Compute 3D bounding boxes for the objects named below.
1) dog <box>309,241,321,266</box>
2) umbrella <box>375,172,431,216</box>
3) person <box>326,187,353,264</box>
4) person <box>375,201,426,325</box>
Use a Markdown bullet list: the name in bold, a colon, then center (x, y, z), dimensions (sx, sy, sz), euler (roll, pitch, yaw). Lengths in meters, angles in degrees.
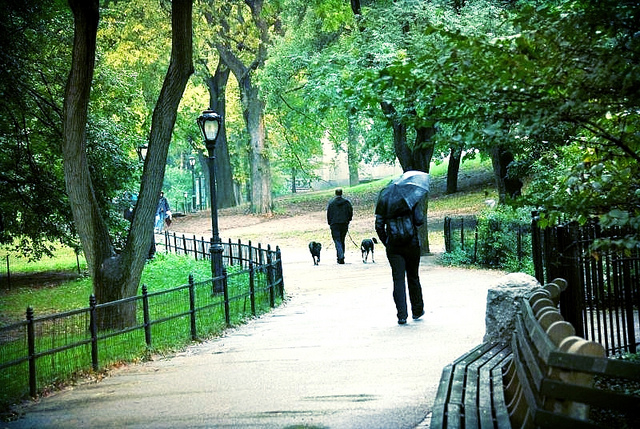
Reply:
- **dog**: center (-0.147, 1.314, 22.858), dimensions (0.338, 0.807, 0.529), euler (-5, 4, -3)
- **umbrella**: center (1.504, -0.382, 12.448), dimensions (0.993, 0.747, 0.470), euler (-5, 4, 6)
- **person**: center (0.698, 0.522, 22.417), dimensions (0.761, 2.331, 0.790), euler (-5, 4, 1)
- **person**: center (1.516, 0.883, 12.464), dimensions (0.849, 2.190, 0.460), euler (-4, 4, 6)
